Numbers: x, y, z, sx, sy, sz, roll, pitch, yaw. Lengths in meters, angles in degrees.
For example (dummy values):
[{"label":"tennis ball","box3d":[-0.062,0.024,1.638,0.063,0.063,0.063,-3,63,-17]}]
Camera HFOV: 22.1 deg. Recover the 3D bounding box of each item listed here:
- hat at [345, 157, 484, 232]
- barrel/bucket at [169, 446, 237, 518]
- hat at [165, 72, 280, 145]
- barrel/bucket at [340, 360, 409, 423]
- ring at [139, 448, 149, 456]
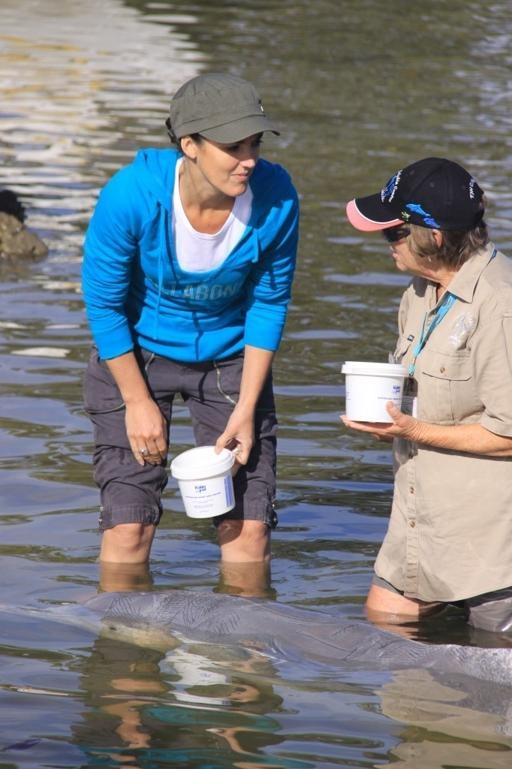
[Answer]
[{"label":"hat","box3d":[0.592,-0.654,4.739,0.423,0.280,0.439,-11,37,-12]},{"label":"barrel/bucket","box3d":[-0.207,0.409,5.192,0.288,0.187,0.275,-10,7,1]},{"label":"hat","box3d":[-0.149,-1.039,4.866,0.447,0.193,0.321,23,41,39]},{"label":"barrel/bucket","box3d":[0.425,0.049,4.745,0.232,0.247,0.228,-1,38,1]},{"label":"ring","box3d":[-0.449,0.269,5.195,0.029,0.023,0.027,-3,70,9]}]
